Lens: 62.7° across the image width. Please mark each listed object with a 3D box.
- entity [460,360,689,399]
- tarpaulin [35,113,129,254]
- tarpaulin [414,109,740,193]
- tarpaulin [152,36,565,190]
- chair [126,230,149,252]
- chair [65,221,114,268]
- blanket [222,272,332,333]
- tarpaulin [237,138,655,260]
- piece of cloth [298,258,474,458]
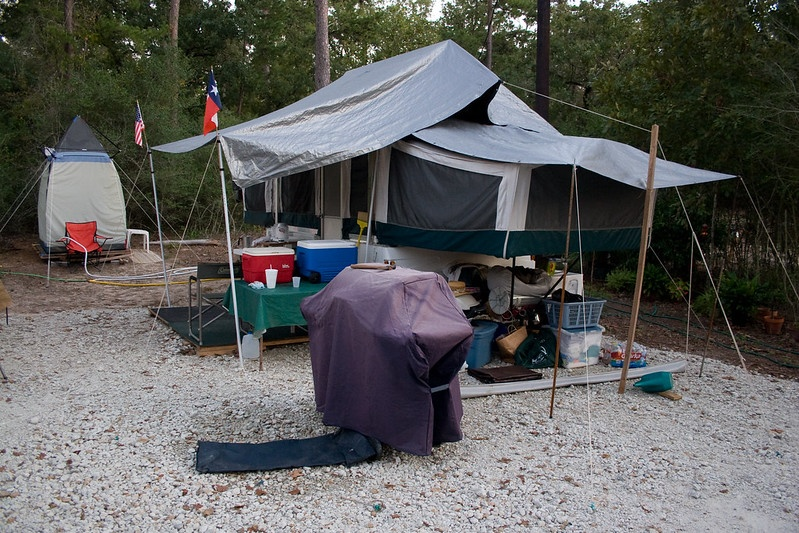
[{"bbox_3d":[2.414,1.582,9.161,3.326,0.204,0.312,-2,13,-16],"label":"entity"},{"bbox_3d":[-7.763,-2.121,16.421,2.839,3.226,2.647,2,12,1],"label":"tarpaulin"},{"bbox_3d":[2.058,-1.709,9.694,3.110,0.856,1.945,9,14,32],"label":"tarpaulin"},{"bbox_3d":[-0.556,-1.643,8.947,4.234,1.063,4.234,-12,23,6],"label":"tarpaulin"},{"bbox_3d":[-7.027,-0.702,17.598,0.786,0.679,0.742,1,0,-21],"label":"chair"},{"bbox_3d":[-7.160,-0.559,14.995,1.080,0.968,0.958,-1,5,-12],"label":"chair"},{"bbox_3d":[-1.747,0.521,9.624,1.307,0.462,1.375,13,15,43],"label":"blanket"},{"bbox_3d":[0.465,-1.489,11.688,6.296,1.644,3.679,11,12,42],"label":"tarpaulin"},{"bbox_3d":[-0.164,0.941,8.082,1.809,1.850,2.320,-6,13,-38],"label":"piece of cloth"}]
